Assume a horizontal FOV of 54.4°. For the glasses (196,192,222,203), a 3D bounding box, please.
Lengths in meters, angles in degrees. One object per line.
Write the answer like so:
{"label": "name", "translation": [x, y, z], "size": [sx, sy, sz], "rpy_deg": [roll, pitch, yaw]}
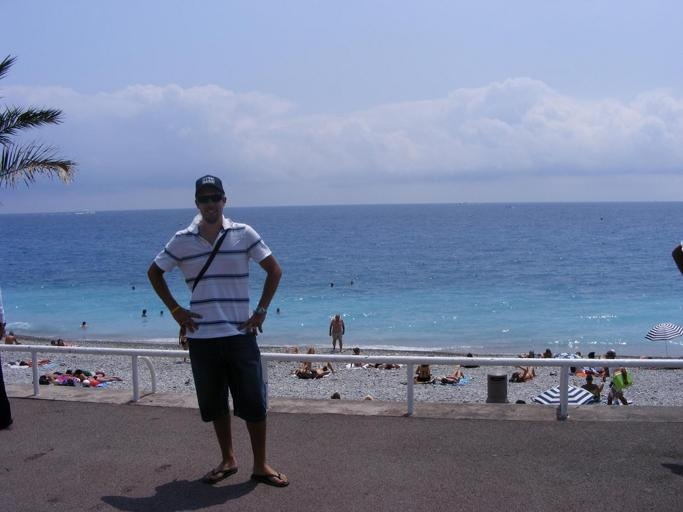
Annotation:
{"label": "glasses", "translation": [-1.185, -0.519, 6.025], "size": [0.221, 0.096, 0.068], "rpy_deg": [0, -2, -13]}

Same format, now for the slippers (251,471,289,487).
{"label": "slippers", "translation": [-0.627, 2.010, 6.029], "size": [0.238, 0.060, 0.132], "rpy_deg": [1, 1, 23]}

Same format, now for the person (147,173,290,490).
{"label": "person", "translation": [-1.073, 0.681, 6.087], "size": [1.177, 2.802, 0.363], "rpy_deg": [0, -2, -5]}
